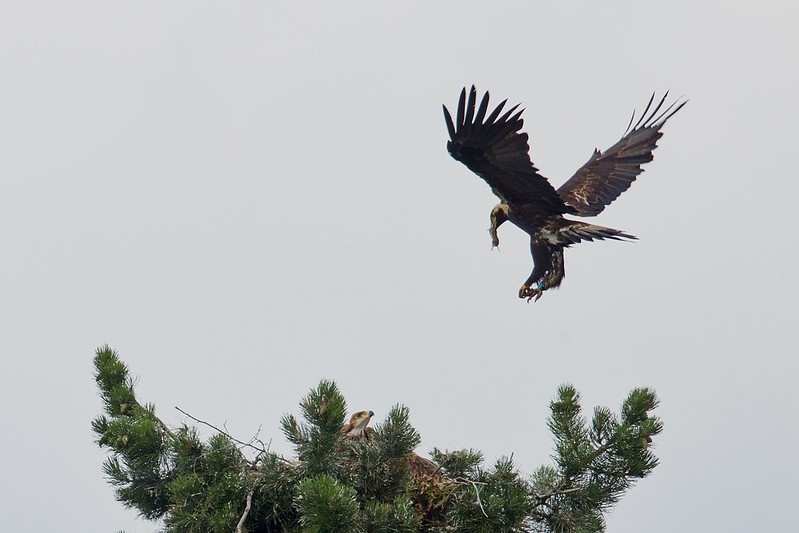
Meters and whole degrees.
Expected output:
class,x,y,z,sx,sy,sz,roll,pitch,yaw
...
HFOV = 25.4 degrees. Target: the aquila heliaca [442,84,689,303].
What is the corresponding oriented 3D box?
class,x,y,z,sx,sy,sz,roll,pitch,yaw
aquila heliaca,0.877,-0.324,9.210,1.465,1.094,0.868,-1,1,-41
